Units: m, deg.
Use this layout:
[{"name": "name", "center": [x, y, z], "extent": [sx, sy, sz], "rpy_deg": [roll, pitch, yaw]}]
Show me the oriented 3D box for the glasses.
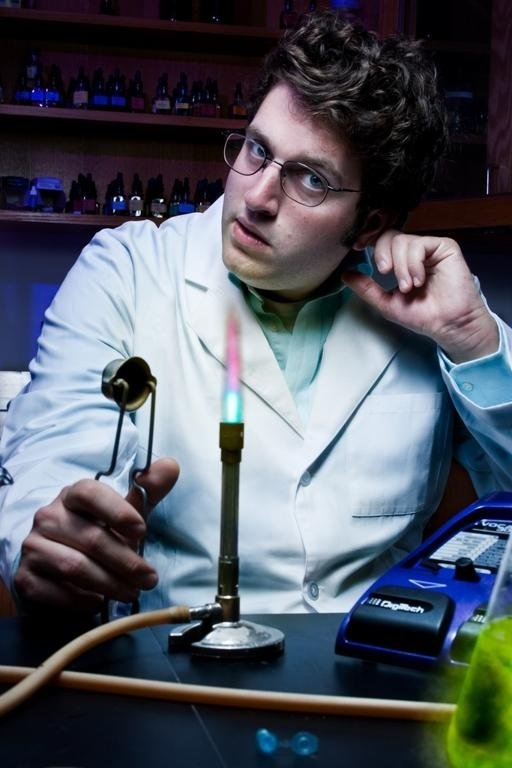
[{"name": "glasses", "center": [0.055, -0.289, 0.917], "extent": [0.176, 0.102, 0.084], "rpy_deg": [3, -2, 4]}]
